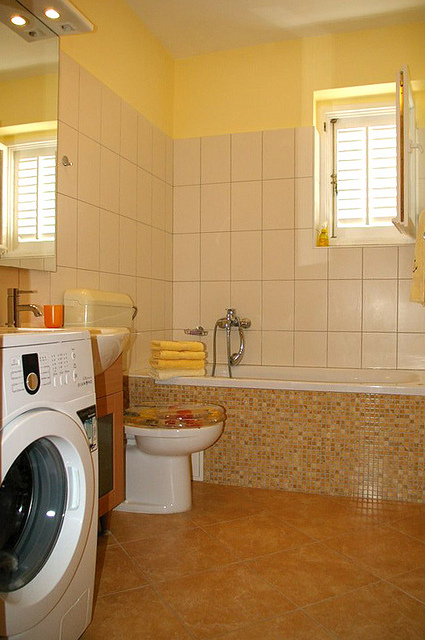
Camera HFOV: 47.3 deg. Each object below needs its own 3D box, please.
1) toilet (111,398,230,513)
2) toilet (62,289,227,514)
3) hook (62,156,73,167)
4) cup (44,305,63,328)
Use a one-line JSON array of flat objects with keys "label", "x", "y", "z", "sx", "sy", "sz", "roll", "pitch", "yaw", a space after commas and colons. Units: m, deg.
[{"label": "toilet", "x": -0.159, "y": 0.572, "z": 2.005, "sx": 0.421, "sy": 0.393, "sz": 0.353, "roll": 0, "pitch": 2, "yaw": 6}, {"label": "toilet", "x": -0.270, "y": 0.380, "z": 2.149, "sx": 0.536, "sy": 0.856, "sz": 0.383, "roll": -9, "pitch": -2, "yaw": 18}, {"label": "hook", "x": -0.651, "y": -0.712, "z": 2.180, "sx": 0.028, "sy": 0.052, "sz": 0.042, "roll": 2, "pitch": 2, "yaw": 19}, {"label": "cup", "x": -0.563, "y": -0.014, "z": 1.721, "sx": 0.058, "sy": 0.085, "sz": 0.071, "roll": -1, "pitch": -3, "yaw": 0}]
